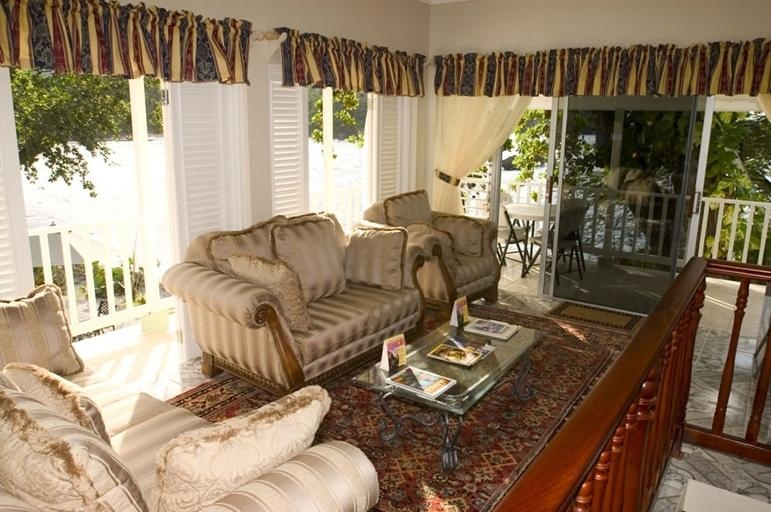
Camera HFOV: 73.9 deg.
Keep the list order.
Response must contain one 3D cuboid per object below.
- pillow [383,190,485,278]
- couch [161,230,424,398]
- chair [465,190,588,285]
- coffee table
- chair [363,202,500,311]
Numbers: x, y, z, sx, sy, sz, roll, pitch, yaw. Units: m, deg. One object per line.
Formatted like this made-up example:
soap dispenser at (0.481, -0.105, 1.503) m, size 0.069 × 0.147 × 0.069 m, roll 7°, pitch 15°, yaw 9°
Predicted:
pillow at (0.534, -0.356, 5.617) m, size 0.893 × 0.901 × 0.884 m, roll 16°, pitch 27°, yaw 40°
couch at (-0.807, 0.489, 4.074) m, size 0.993 × 0.790 × 1.650 m, roll 14°, pitch 22°, yaw 36°
chair at (2.053, -0.299, 6.453) m, size 0.897 × 1.029 × 1.143 m, roll -13°, pitch 25°, yaw -29°
coffee table at (0.484, 0.947, 3.773) m, size 0.817 × 0.542 × 1.287 m, roll 9°, pitch 17°, yaw 35°
chair at (0.563, -0.080, 5.581) m, size 1.248 × 1.229 × 1.199 m, roll 14°, pitch 22°, yaw 40°
